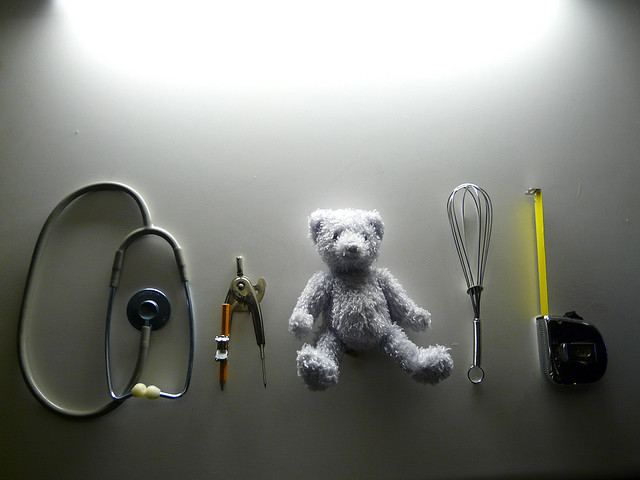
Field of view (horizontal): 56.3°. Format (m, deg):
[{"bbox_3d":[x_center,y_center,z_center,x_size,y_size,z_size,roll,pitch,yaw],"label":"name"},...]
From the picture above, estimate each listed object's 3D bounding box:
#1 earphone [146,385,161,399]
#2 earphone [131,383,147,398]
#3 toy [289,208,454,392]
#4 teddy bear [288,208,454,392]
[{"bbox_3d":[-0.565,0.517,2.028,0.044,0.038,0.029,2,-13,-19],"label":"earphone"},{"bbox_3d":[-0.615,0.511,2.030,0.048,0.044,0.056,7,-16,-37],"label":"earphone"},{"bbox_3d":[0.152,0.184,2.038,0.500,0.583,0.446,-5,15,-4],"label":"toy"},{"bbox_3d":[0.142,0.186,2.028,0.504,0.577,0.445,-6,14,-7],"label":"teddy bear"}]
